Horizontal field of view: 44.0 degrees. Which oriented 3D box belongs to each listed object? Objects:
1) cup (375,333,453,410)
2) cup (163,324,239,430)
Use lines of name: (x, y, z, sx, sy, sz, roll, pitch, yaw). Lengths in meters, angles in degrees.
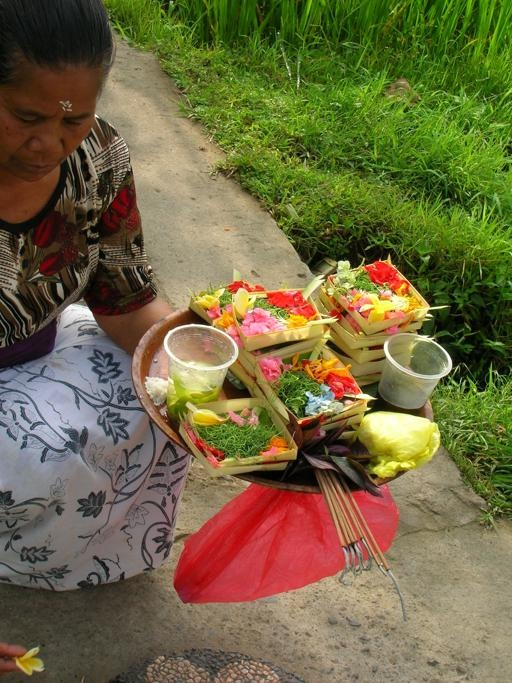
cup: (0.342, 0.071, 1.410, 0.162, 0.105, 0.142, 4, 39, -12)
cup: (-0.113, 0.074, 1.279, 0.164, 0.159, 0.141, -16, 59, -35)
